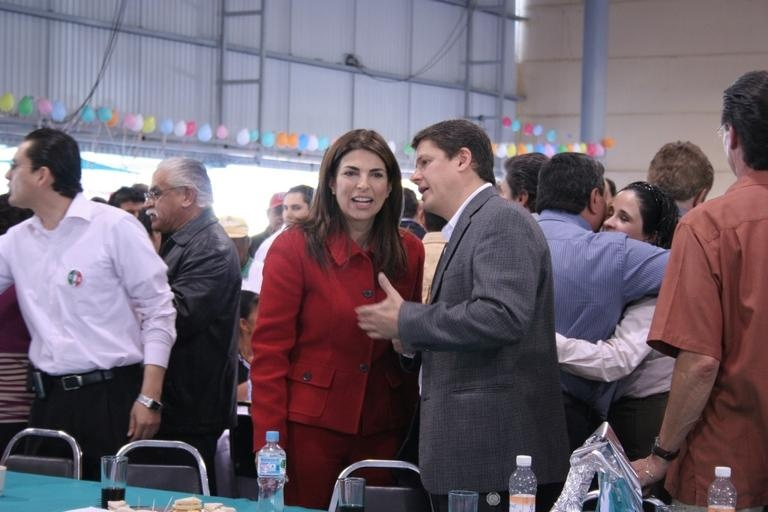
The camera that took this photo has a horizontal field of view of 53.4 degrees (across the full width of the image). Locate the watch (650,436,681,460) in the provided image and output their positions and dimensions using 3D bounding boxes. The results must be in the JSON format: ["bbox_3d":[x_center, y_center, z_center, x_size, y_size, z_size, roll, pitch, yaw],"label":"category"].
[{"bbox_3d":[1.087,0.760,2.965,0.095,0.074,0.109,14,-11,21],"label":"watch"}]

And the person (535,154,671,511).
[{"bbox_3d":[0.985,0.490,3.989,0.840,1.988,0.550,8,16,25],"label":"person"}]

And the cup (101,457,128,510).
[{"bbox_3d":[-1.071,0.880,3.022,0.085,0.201,0.199,1,2,-22],"label":"cup"}]

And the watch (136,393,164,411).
[{"bbox_3d":[-1.180,0.737,3.881,0.107,0.081,0.122,16,-10,27],"label":"watch"}]
